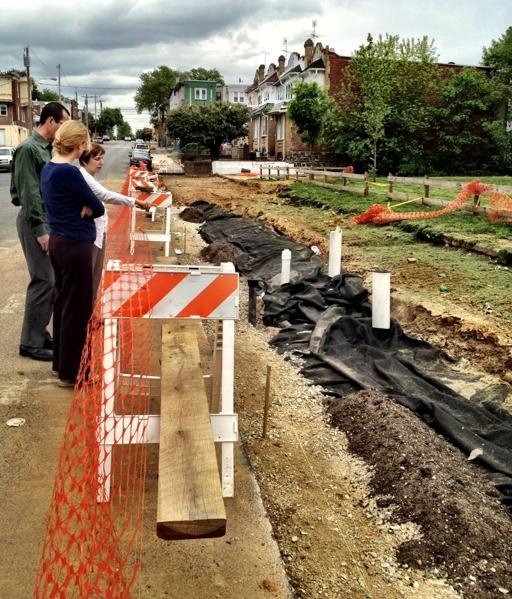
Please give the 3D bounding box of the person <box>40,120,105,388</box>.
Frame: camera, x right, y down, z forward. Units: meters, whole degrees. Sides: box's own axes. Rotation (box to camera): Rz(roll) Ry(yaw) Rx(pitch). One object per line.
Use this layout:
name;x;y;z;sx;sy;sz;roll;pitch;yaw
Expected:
person;-1.454;-0.318;4.124;0.652;2.140;0.420;14;20;38

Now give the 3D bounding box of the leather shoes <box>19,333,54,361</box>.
leather shoes;-2.263;0.490;5.105;0.546;0.225;0.182;2;7;11
